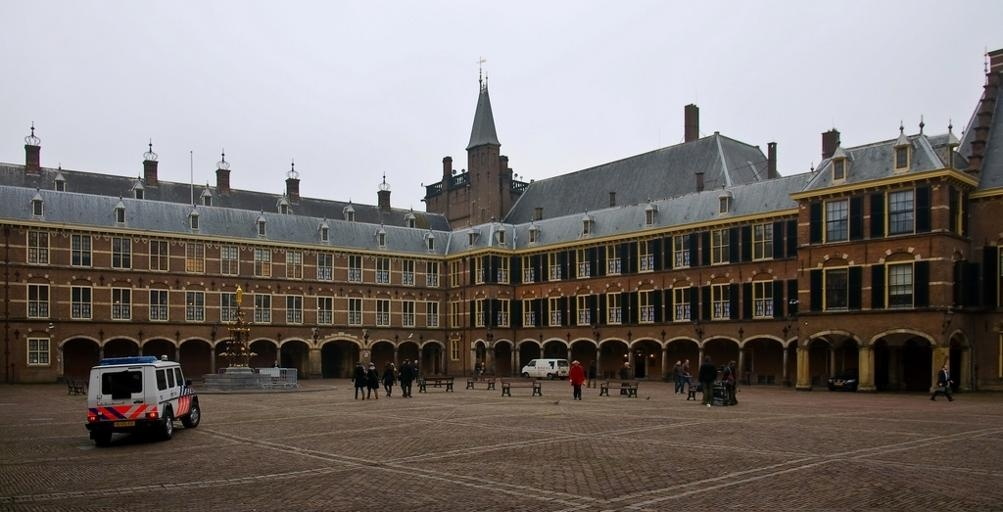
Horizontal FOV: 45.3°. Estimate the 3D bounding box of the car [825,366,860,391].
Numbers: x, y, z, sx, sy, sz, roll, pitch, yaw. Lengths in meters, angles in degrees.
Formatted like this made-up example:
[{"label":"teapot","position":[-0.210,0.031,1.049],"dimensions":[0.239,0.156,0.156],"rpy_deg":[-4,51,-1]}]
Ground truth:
[{"label":"car","position":[27.666,10.042,96.904],"dimensions":[2.194,1.756,1.088],"rpy_deg":[-3,-12,12]}]
